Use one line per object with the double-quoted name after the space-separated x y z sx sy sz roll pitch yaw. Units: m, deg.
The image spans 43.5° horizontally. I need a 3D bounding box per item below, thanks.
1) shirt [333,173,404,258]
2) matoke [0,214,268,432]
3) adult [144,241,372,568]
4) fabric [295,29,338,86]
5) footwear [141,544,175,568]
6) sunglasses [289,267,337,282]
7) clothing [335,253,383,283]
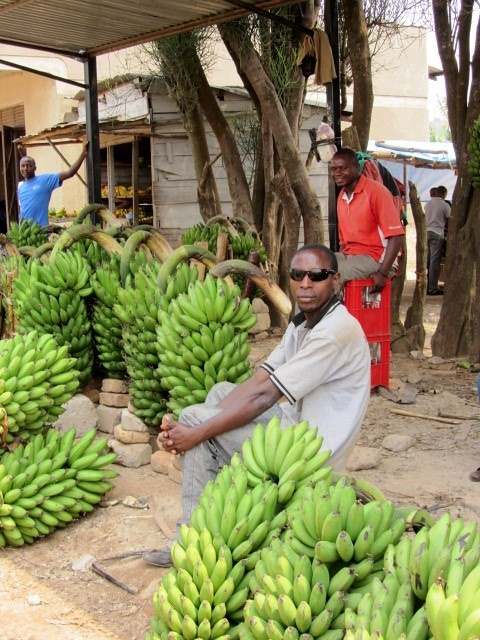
1.043 -0.869 5.048 0.397 0.749 0.703 -10 10 -32 "shirt"
-0.661 -0.007 3.575 1.385 1.066 1.346 -6 13 -23 "matoke"
0.129 0.370 2.555 0.843 1.421 0.535 6 0 -15 "adult"
0.727 -2.480 5.584 0.340 0.474 0.233 -18 31 -34 "fabric"
-0.351 1.030 2.602 0.165 0.121 0.047 6 -35 -6 "footwear"
0.299 -0.188 2.473 0.188 0.058 0.125 -2 8 4 "sunglasses"
0.907 -0.388 4.547 0.351 0.162 0.364 -3 24 -25 "clothing"
